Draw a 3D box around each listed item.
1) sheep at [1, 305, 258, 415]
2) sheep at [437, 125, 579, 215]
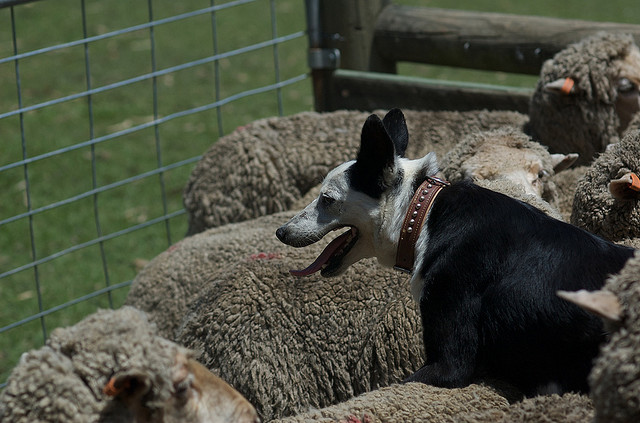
[{"bbox_3d":[-1.137,0.957,7.183,1.134,0.687,0.728,20,1,3],"label":"sheep"},{"bbox_3d":[1.448,-0.482,8.881,0.786,0.720,0.792,15,-3,17],"label":"sheep"}]
